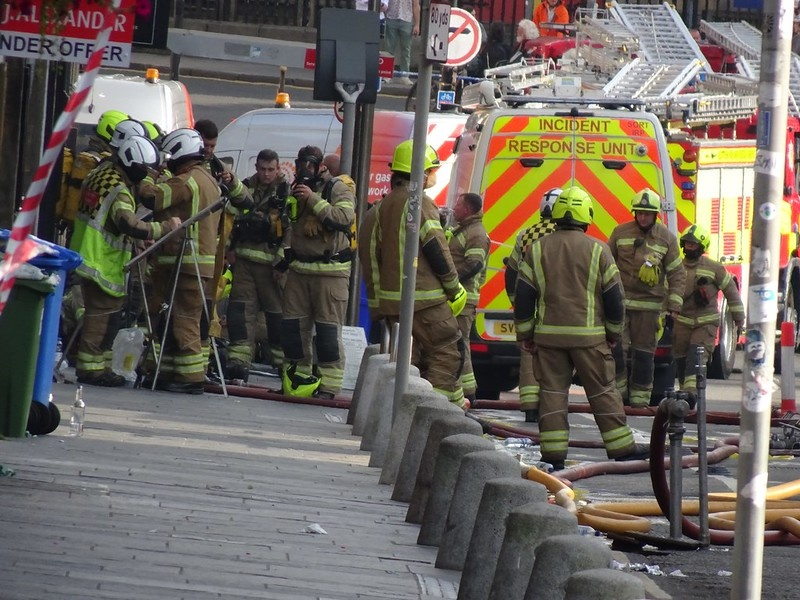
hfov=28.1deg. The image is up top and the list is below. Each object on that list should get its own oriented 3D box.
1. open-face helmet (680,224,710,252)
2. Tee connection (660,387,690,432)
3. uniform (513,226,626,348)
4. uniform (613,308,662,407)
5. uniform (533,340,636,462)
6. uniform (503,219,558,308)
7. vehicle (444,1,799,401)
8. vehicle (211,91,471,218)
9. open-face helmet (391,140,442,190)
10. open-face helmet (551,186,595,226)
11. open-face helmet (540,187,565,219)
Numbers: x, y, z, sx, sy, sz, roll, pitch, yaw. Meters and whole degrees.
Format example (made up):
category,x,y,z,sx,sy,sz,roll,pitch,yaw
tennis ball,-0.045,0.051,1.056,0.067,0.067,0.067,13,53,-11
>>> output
category,x,y,z,sx,sy,sz,roll,pitch,yaw
open-face helmet,3.016,-0.632,16.314,0.219,0.212,0.319,11,0,30
Tee connection,1.745,0.714,10.316,0.251,0.312,0.250,-1,1,27
uniform,1.292,-0.074,12.584,1.107,1.194,0.618,1,2,10
uniform,2.295,0.529,15.593,0.270,0.922,0.388,20,-1,-23
uniform,1.409,0.761,12.618,0.799,0.390,1.656,-3,39,3
uniform,1.096,-0.395,14.828,0.326,0.714,0.528,8,16,-17
vehicle,2.860,-1.899,18.902,2.586,3.741,7.324,0,4,11
vehicle,-0.740,-1.644,17.836,2.401,1.195,1.237,4,8,16
open-face helmet,0.109,-1.103,12.711,0.412,0.395,0.373,0,16,-2
open-face helmet,1.356,-0.706,12.606,0.257,0.282,0.324,3,-22,13
open-face helmet,1.346,-0.904,14.580,0.227,0.305,0.298,8,-14,6
